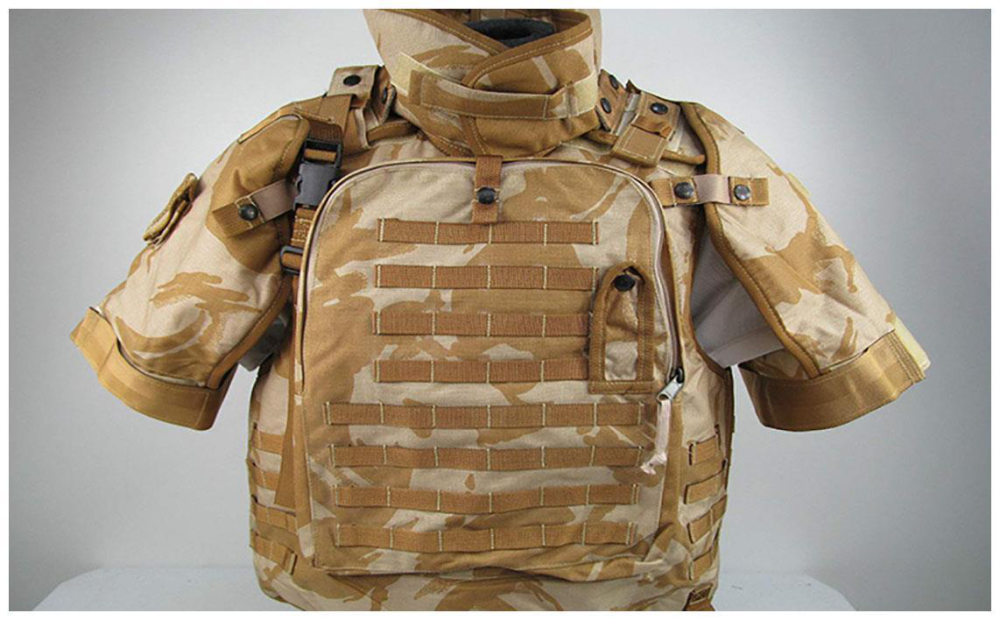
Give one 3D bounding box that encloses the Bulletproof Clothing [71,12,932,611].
[{"bbox_3d":[-0.009,0.025,2.135,1.373,0.947,0.480,0,13,0],"label":"Bulletproof Clothing"}]
